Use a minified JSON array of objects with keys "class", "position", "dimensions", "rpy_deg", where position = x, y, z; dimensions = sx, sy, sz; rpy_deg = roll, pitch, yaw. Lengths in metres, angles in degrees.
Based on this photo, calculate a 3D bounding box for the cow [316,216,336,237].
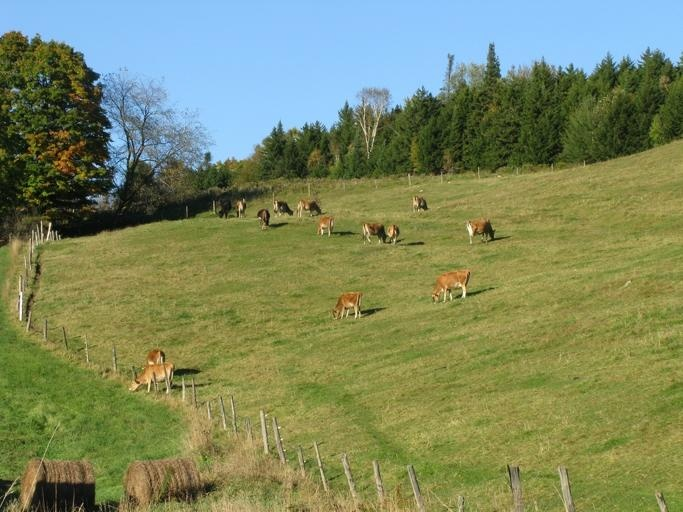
[{"class":"cow","position":[-1.321,-2.413,81.840],"dimensions":[1.222,1.725,1.897],"rpy_deg":[-2,-4,-20]}]

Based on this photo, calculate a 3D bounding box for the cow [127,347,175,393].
[{"class":"cow","position":[-10.912,6.730,57.770],"dimensions":[3.066,2.343,2.083],"rpy_deg":[-5,-4,22]}]

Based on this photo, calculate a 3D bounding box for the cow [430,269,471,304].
[{"class":"cow","position":[7.060,1.985,64.229],"dimensions":[2.404,1.995,2.815],"rpy_deg":[-4,-3,5]}]
